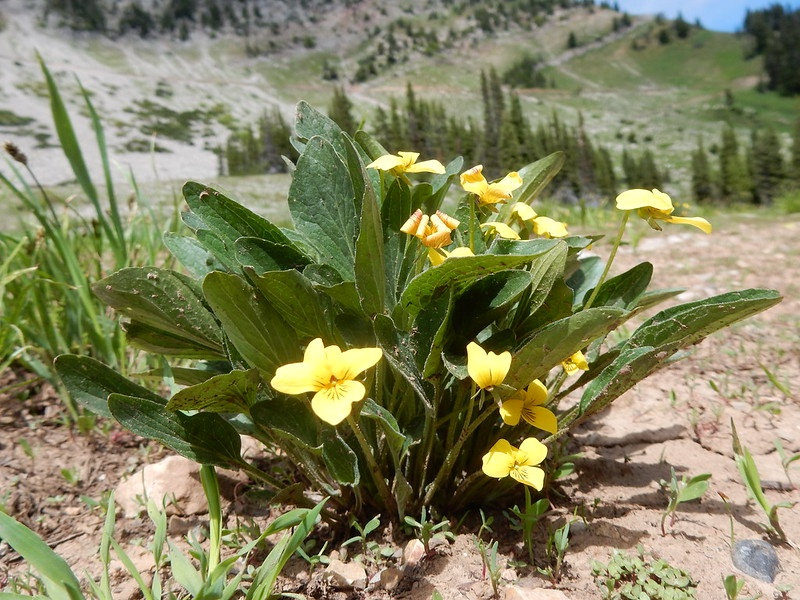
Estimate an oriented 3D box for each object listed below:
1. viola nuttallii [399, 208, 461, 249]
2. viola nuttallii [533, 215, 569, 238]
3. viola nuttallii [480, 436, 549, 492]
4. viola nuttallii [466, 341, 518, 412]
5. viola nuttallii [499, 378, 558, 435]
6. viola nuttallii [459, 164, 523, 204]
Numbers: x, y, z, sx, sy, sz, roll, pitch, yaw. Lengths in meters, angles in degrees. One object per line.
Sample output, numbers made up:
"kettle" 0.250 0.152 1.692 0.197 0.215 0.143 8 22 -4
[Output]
"viola nuttallii" 0.097 -0.219 2.054 0.165 0.124 0.179 -2 20 10
"viola nuttallii" 0.529 -0.234 2.281 0.098 0.037 0.098 19 35 0
"viola nuttallii" 0.350 0.483 1.980 0.175 0.094 0.181 0 21 17
"viola nuttallii" 0.255 0.215 1.856 0.147 0.177 0.061 7 -8 -5
"viola nuttallii" 0.413 0.349 2.059 0.174 0.054 0.178 36 64 4
"viola nuttallii" 0.315 -0.387 2.215 0.191 0.160 0.279 0 21 17
